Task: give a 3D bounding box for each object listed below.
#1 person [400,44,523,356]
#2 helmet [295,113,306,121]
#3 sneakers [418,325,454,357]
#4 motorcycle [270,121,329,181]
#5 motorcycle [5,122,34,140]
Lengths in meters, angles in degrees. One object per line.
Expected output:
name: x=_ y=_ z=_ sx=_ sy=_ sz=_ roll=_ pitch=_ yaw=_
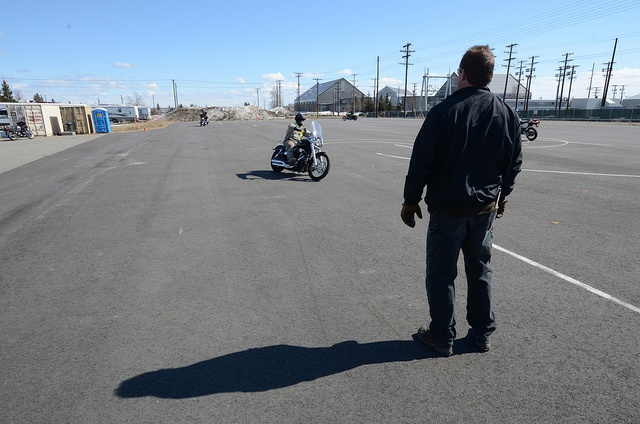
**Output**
person: x=1.549 y=-0.092 z=3.920 sx=1.124 sy=3.072 sz=0.932 roll=-16 pitch=24 yaw=-35
helmet: x=-0.564 y=-2.701 z=10.712 sx=0.241 sy=0.189 sz=0.196 roll=17 pitch=24 yaw=11
sneakers: x=1.251 y=1.352 z=4.104 sx=0.199 sy=0.225 sz=0.526 roll=-11 pitch=13 yaw=-20
motorcycle: x=-0.537 y=-1.887 z=11.304 sx=2.029 sy=1.688 sz=0.646 roll=16 pitch=26 yaw=39
motorcycle: x=-23.455 y=-6.346 z=29.170 sx=1.146 sy=1.314 sz=2.002 roll=-6 pitch=21 yaw=-15
